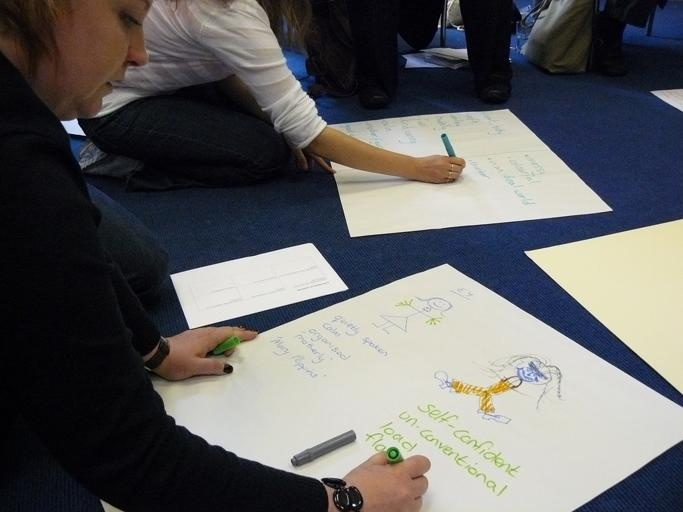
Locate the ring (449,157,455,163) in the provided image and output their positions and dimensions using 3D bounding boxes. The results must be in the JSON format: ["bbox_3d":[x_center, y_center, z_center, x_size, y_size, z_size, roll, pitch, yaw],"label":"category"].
[{"bbox_3d":[0.402,-0.352,1.682,0.022,0.011,0.032,3,46,12],"label":"ring"}]

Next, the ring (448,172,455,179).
[{"bbox_3d":[0.396,-0.296,1.678,0.007,0.018,0.013,7,5,-37],"label":"ring"}]
